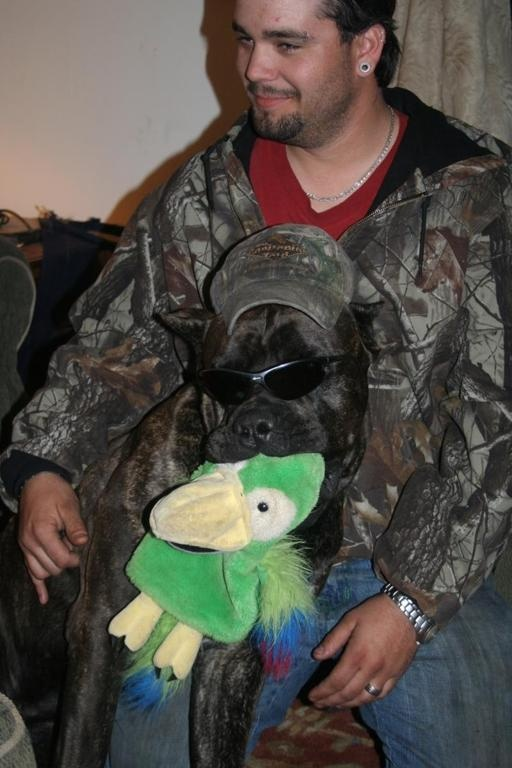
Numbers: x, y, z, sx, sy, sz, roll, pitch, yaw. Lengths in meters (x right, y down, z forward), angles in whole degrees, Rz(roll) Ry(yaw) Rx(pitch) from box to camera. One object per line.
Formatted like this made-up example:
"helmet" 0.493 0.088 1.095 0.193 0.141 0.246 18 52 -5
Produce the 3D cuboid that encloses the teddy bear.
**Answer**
"teddy bear" -0.027 0.275 1.252 0.325 0.430 0.164 31 2 2

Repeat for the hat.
"hat" 0.037 -0.203 1.439 0.289 0.162 0.291 -8 34 12

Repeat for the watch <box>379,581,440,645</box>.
"watch" 0.344 0.509 1.617 0.067 0.106 0.113 -46 12 -9

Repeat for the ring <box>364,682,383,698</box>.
"ring" 0.255 0.668 1.585 0.037 0.036 0.026 34 85 8
